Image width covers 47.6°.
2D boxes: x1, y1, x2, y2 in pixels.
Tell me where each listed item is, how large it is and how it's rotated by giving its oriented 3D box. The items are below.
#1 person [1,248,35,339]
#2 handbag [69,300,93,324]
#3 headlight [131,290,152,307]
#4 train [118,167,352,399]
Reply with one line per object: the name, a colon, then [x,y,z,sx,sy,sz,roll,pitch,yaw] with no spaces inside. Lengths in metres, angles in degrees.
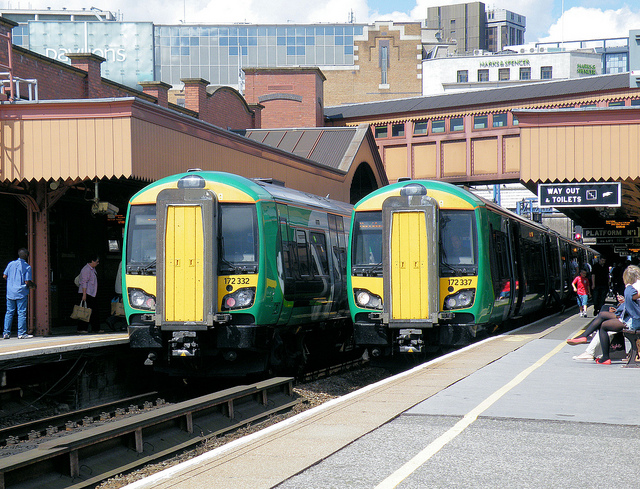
person: [-6.685,1.113,16.029,0.694,1.957,0.628,-1,3,-2]
handbag: [-5.619,1.613,17.169,0.443,0.520,0.808,-1,3,-17]
headlight: [-3.374,1.025,13.700,0.424,0.297,0.065,1,3,25]
train: [-2.033,0.706,15.881,2.436,3.739,10.687,-3,-1,17]
